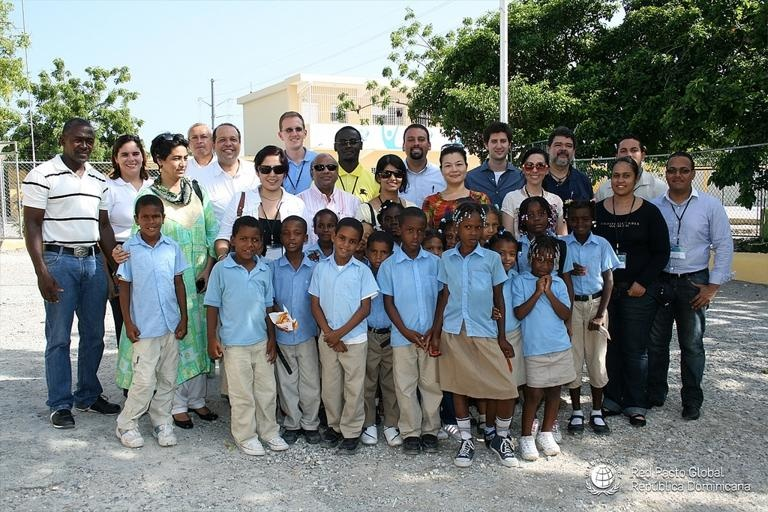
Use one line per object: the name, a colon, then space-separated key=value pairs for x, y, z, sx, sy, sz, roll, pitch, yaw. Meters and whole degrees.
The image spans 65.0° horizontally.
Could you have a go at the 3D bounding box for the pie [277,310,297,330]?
pie: x=-0.946 y=0.643 z=5.928 sx=0.079 sy=0.190 sz=0.156 roll=-12 pitch=11 yaw=43
